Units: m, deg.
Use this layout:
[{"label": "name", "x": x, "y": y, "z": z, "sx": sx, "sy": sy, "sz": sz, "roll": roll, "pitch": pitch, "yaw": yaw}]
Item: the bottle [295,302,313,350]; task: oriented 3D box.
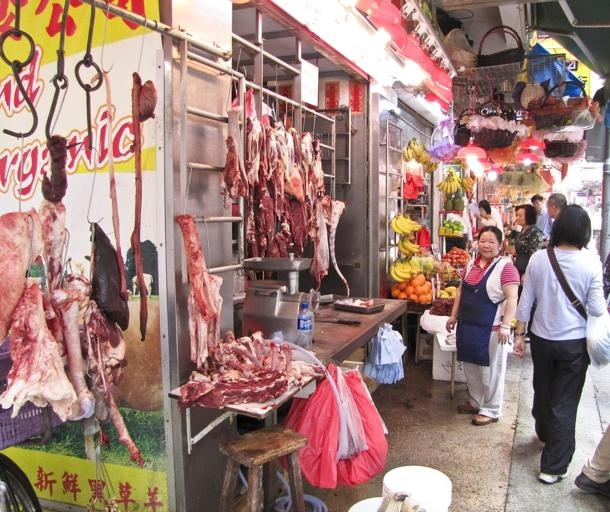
[{"label": "bottle", "x": 0.006, "y": 0.437, "z": 3.238, "sx": 0.126, "sy": 0.285, "sz": 0.069, "roll": -6, "pitch": 9, "yaw": -43}]

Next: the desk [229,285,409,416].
[{"label": "desk", "x": 0.165, "y": 0.533, "z": 3.572, "sx": 0.732, "sy": 0.809, "sz": 1.656, "roll": 1, "pitch": 8, "yaw": 27}]

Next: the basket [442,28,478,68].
[{"label": "basket", "x": 2.041, "y": -2.770, "z": 6.745, "sx": 0.415, "sy": 0.562, "sz": 0.229, "roll": -28, "pitch": 5, "yaw": -41}]

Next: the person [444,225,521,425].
[{"label": "person", "x": 1.594, "y": 0.586, "z": 4.625, "sx": 0.586, "sy": 1.775, "sz": 0.619, "roll": 8, "pitch": 10, "yaw": 31}]

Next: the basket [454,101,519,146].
[{"label": "basket", "x": 2.185, "y": -1.582, "z": 6.223, "sx": 0.668, "sy": 0.573, "sz": 0.540, "roll": 7, "pitch": 10, "yaw": 32}]

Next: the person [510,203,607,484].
[{"label": "person", "x": 1.804, "y": 0.544, "z": 3.795, "sx": 0.692, "sy": 1.903, "sz": 0.631, "roll": -1, "pitch": 1, "yaw": -40}]

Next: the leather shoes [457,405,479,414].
[{"label": "leather shoes", "x": 1.545, "y": 1.433, "z": 4.795, "sx": 0.157, "sy": 0.081, "sz": 0.079, "roll": 6, "pitch": 2, "yaw": 8}]

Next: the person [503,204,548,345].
[{"label": "person", "x": 2.675, "y": 0.249, "z": 6.464, "sx": 0.441, "sy": 1.745, "sz": 0.541, "roll": 7, "pitch": 13, "yaw": 5}]

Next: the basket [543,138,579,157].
[{"label": "basket", "x": 3.352, "y": -1.412, "z": 6.669, "sx": 0.252, "sy": 0.172, "sz": 0.273, "roll": 0, "pitch": 7, "yaw": 5}]

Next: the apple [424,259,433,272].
[{"label": "apple", "x": 1.662, "y": 0.124, "z": 6.845, "sx": 0.115, "sy": 0.167, "sz": 0.224, "roll": 2, "pitch": 7, "yaw": 17}]

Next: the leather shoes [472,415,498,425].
[{"label": "leather shoes", "x": 1.629, "y": 1.485, "z": 4.603, "sx": 0.203, "sy": 0.106, "sz": 0.090, "roll": 3, "pitch": -7, "yaw": -8}]

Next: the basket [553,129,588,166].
[{"label": "basket", "x": 3.597, "y": -1.435, "z": 6.786, "sx": 0.360, "sy": 0.481, "sz": 0.389, "roll": -1, "pitch": 3, "yaw": 0}]

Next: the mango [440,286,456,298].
[{"label": "mango", "x": 1.809, "y": 0.460, "z": 6.421, "sx": 0.179, "sy": 0.079, "sz": 0.184, "roll": -29, "pitch": 4, "yaw": -22}]
